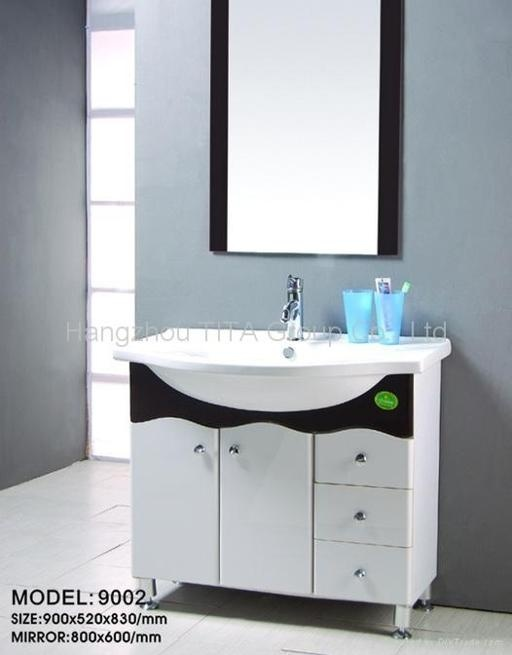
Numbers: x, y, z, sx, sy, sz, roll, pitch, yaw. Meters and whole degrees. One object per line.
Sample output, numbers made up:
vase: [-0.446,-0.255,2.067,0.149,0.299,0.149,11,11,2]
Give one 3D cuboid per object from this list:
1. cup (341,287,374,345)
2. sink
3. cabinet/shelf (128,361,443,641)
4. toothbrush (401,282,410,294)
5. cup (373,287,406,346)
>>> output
cup: [0.267,-0.028,1.748,0.113,0.187,0.118,0,4,0]
sink: [0.032,0.105,1.673,0.787,0.167,0.543,1,4,26]
cabinet/shelf: [0.063,0.387,1.564,0.595,0.544,0.270,-1,-1,14]
toothbrush: [0.394,-0.105,1.770,0.015,0.018,0.030,14,-40,8]
cup: [0.347,-0.040,1.754,0.099,0.166,0.103,6,-30,3]
